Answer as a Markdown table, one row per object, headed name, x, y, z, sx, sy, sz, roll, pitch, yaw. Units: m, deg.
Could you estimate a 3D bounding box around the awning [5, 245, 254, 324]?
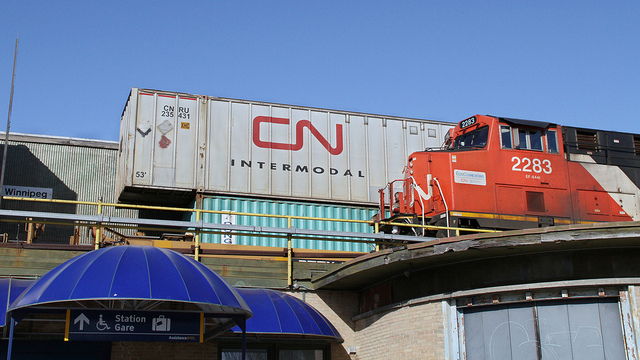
| name | x | y | z | sx | sy | sz | roll | pitch | yaw |
| --- | --- | --- | --- | --- | --- | --- | --- | --- | --- |
| awning | -5.903 | 3.378 | 25.304 | 7.450 | 2.464 | 4.018 | 1 | -17 | -5 |
